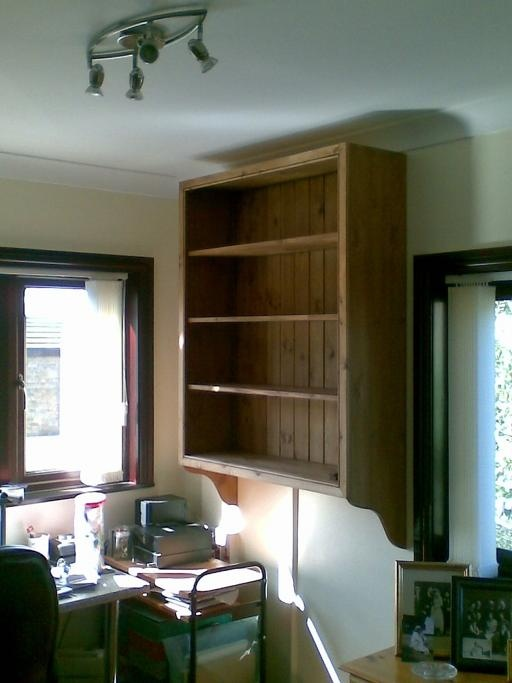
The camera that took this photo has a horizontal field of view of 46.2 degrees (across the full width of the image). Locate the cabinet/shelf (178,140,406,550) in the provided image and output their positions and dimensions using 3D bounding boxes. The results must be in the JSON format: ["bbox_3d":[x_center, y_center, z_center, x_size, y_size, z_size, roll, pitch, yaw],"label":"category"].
[{"bbox_3d":[0.121,0.054,2.388,0.798,1.499,0.288,0,3,39],"label":"cabinet/shelf"}]

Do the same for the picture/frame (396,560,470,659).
[{"bbox_3d":[0.553,0.842,1.858,0.213,0.350,0.033,1,-21,11],"label":"picture/frame"}]
